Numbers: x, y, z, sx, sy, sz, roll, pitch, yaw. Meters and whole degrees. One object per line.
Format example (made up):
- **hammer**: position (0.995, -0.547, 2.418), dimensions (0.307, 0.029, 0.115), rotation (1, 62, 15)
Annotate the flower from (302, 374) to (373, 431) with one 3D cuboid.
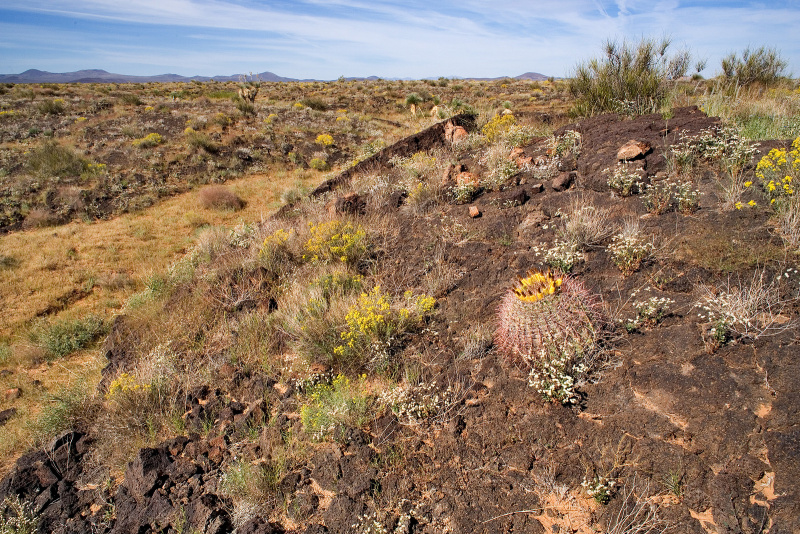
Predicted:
- **flower**: position (-1.000, 2.048, 8.395), dimensions (0.787, 0.523, 0.855), rotation (-9, 22, -2)
